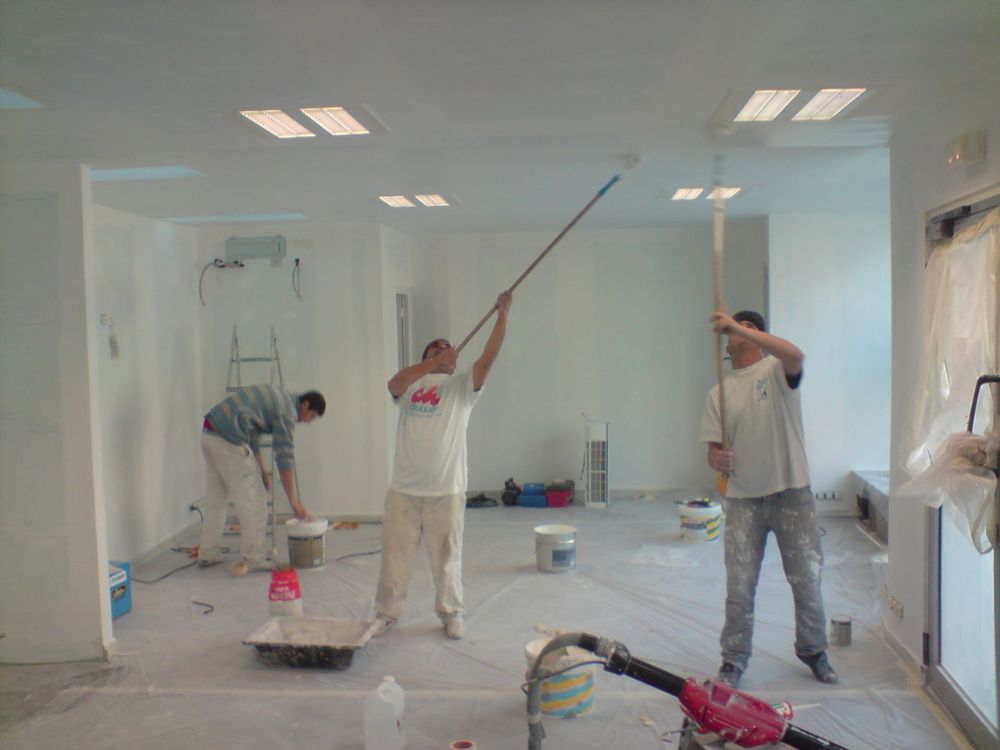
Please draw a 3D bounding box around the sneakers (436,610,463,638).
[{"bbox_3d":[-0.331,1.638,5.185,0.144,0.154,0.279,-5,8,-23],"label":"sneakers"}]

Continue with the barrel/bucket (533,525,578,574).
[{"bbox_3d":[0.449,1.413,6.334,0.307,0.316,0.321,2,-1,0],"label":"barrel/bucket"}]

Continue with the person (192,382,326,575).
[{"bbox_3d":[-2.110,0.876,6.896,0.974,1.613,0.888,5,3,-12],"label":"person"}]

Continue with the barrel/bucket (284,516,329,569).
[{"bbox_3d":[-1.614,1.412,6.577,0.379,0.430,0.327,-1,0,-24],"label":"barrel/bucket"}]

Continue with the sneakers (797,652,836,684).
[{"bbox_3d":[1.818,1.679,4.550,0.095,0.131,0.288,-20,9,-19],"label":"sneakers"}]

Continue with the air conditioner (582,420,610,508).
[{"bbox_3d":[1.062,0.976,8.610,0.226,0.839,0.547,0,8,11],"label":"air conditioner"}]

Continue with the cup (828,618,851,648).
[{"bbox_3d":[2.117,1.607,4.858,0.134,0.153,0.140,-1,-1,0],"label":"cup"}]

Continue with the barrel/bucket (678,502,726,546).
[{"bbox_3d":[1.819,1.356,7.190,0.333,0.272,0.338,0,4,0],"label":"barrel/bucket"}]

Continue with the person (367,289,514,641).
[{"bbox_3d":[-0.482,0.753,5.180,0.761,1.917,0.531,-3,8,-11],"label":"person"}]

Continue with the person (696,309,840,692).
[{"bbox_3d":[1.532,0.689,4.437,0.719,2.139,0.617,1,8,16],"label":"person"}]
